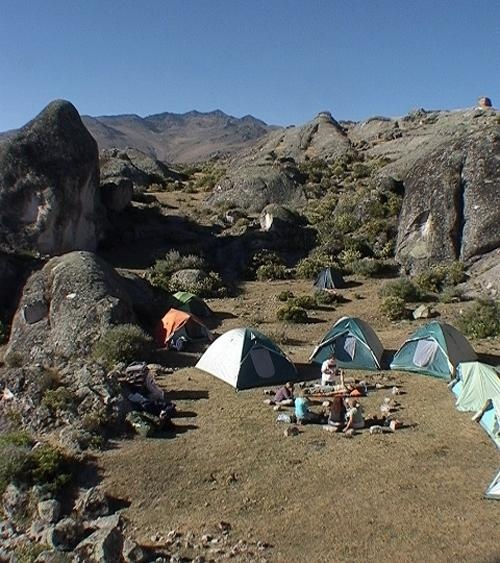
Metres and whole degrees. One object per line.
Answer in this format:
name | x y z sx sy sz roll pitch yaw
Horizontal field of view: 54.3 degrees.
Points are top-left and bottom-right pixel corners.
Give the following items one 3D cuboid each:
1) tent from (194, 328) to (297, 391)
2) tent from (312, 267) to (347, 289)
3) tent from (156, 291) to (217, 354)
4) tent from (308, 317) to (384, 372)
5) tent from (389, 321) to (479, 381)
tent | -0.158 1.753 11.048 1.565 0.824 1.378 -6 11 -41
tent | 3.170 -0.067 19.302 0.941 0.635 0.959 0 3 39
tent | -2.065 1.164 14.092 1.166 0.633 1.677 -3 15 -16
tent | 2.392 1.335 12.185 1.956 0.966 2.080 2 14 -3
tent | 4.335 1.454 11.391 1.996 1.026 2.111 -7 10 -14
